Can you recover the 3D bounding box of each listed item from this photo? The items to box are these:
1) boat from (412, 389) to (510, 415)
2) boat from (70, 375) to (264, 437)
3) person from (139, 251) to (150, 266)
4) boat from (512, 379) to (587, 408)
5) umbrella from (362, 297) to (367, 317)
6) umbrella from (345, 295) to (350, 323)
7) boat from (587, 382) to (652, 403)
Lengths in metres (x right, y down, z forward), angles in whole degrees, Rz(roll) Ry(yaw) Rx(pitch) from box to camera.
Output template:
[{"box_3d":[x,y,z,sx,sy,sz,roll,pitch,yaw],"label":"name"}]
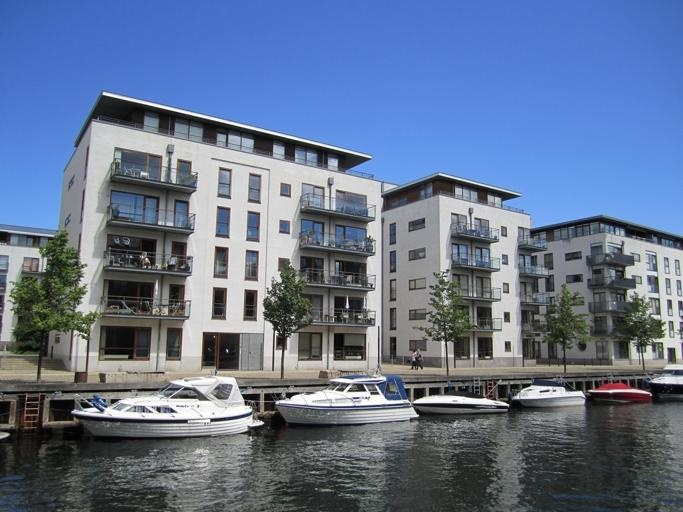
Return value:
[{"box_3d":[7.231,9.009,35.450,6.519,1.204,1.901,5,-11,-17],"label":"boat"},{"box_3d":[-8.310,7.120,26.792,7.198,2.123,3.173,3,-11,-22],"label":"boat"},{"box_3d":[-13.785,0.252,39.841,0.715,0.579,1.081,5,4,-30],"label":"person"},{"box_3d":[14.438,9.485,39.332,5.125,1.621,2.139,1,-15,-12],"label":"boat"},{"box_3d":[1.989,4.291,48.506,0.517,1.580,0.915,4,1,0],"label":"umbrella"},{"box_3d":[0.568,4.363,47.653,0.526,1.803,1.185,4,1,2],"label":"umbrella"},{"box_3d":[21.042,10.559,43.230,3.759,0.968,2.036,2,-10,-4],"label":"boat"}]
